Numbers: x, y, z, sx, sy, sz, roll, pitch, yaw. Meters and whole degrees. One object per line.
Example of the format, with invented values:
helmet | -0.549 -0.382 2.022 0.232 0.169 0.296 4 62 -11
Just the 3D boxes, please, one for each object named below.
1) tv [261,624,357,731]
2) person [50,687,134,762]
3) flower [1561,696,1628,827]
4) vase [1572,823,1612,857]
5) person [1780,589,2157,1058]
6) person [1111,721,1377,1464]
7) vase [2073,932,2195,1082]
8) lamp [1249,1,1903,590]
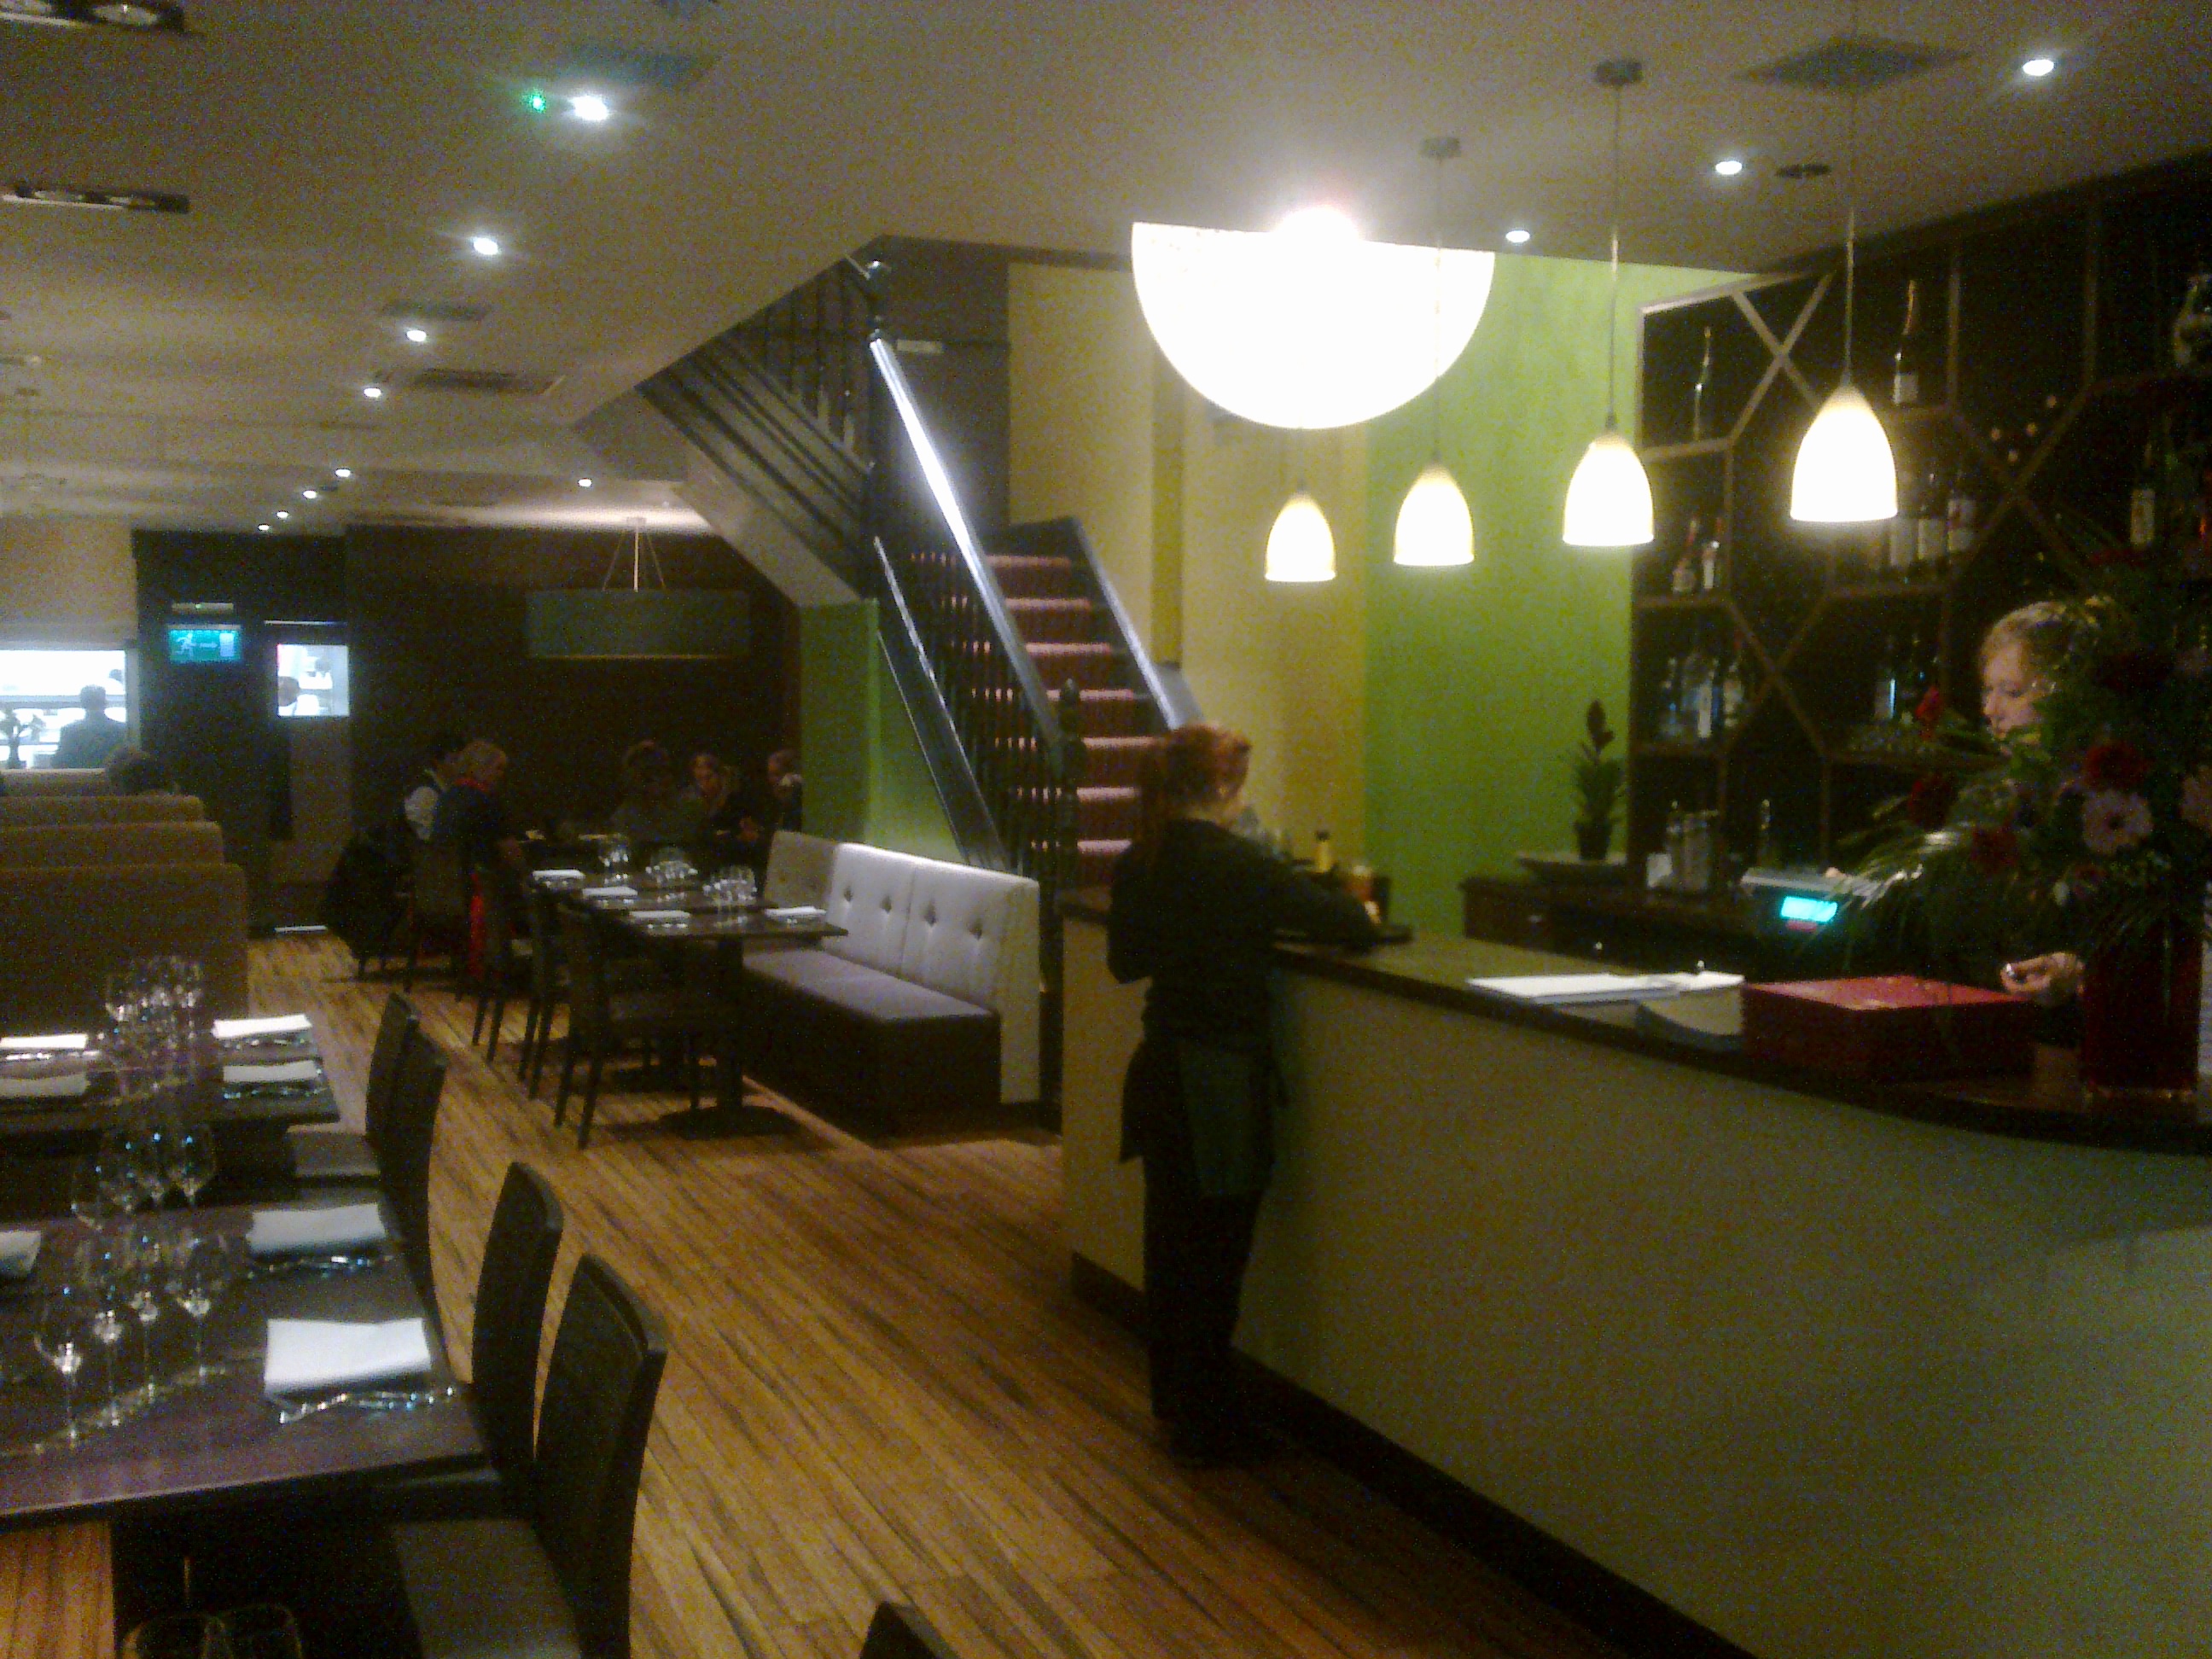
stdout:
tv | -6.674 -1.294 15.074 0.834 1.232 0.115 -1 3 -26
person | -8.024 -0.834 14.252 0.677 0.886 0.443 -1 6 -30
flower | 2.066 -0.270 7.592 0.212 0.561 0.990 0 6 15
vase | 1.928 0.044 7.224 0.118 0.104 0.125 1 -3 -16
person | 1.623 -0.042 3.565 0.813 1.004 0.812 7 10 43
person | 0.317 0.662 4.680 0.628 1.854 0.421 -1 5 4
vase | 1.760 0.299 3.074 0.186 0.259 0.171 2 6 27
lamp | 1.543 -1.691 5.663 1.584 1.409 0.332 5 8 42
